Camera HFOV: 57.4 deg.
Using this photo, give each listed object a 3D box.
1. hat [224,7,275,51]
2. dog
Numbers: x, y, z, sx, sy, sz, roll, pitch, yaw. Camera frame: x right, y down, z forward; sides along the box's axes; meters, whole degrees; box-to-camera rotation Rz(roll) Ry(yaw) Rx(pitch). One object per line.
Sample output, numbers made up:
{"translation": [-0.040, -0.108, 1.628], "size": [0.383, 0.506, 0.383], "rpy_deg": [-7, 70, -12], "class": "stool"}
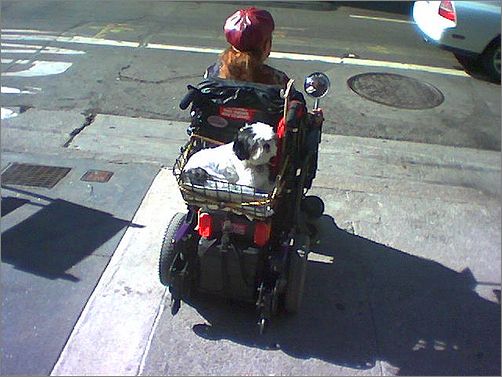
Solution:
{"translation": [-0.030, -1.853, 5.289], "size": [0.570, 0.272, 0.504], "rpy_deg": [-14, 79, 13], "class": "hat"}
{"translation": [-0.189, -0.320, 5.071], "size": [1.021, 0.586, 0.701], "rpy_deg": [-3, 28, -2], "class": "dog"}
